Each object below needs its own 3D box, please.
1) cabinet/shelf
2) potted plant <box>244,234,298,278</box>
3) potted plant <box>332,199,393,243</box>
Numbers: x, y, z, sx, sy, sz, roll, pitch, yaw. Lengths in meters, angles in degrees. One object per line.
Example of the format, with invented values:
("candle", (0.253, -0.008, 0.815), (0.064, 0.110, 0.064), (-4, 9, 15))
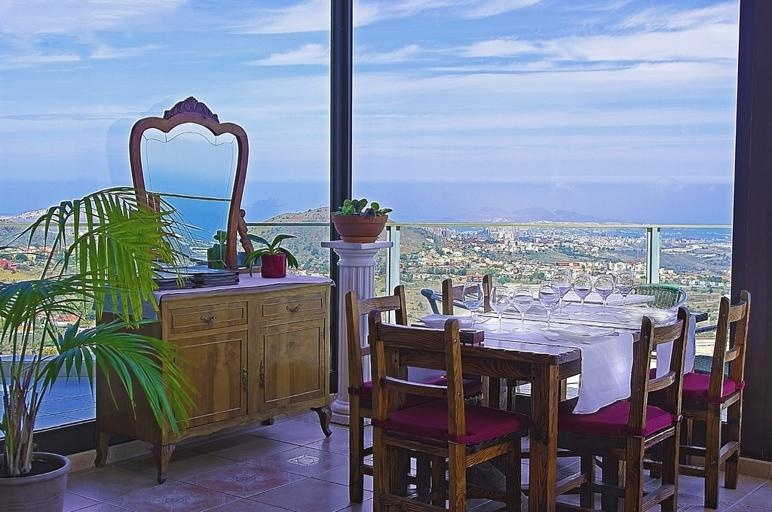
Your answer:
("cabinet/shelf", (-1.238, 0.778, 4.169), (0.870, 1.137, 1.779), (-2, -1, 32))
("potted plant", (-0.910, -0.014, 4.475), (0.337, 0.306, 0.449), (-3, 7, -31))
("potted plant", (-0.210, -0.278, 4.655), (0.512, 0.307, 0.444), (2, 5, 10))
